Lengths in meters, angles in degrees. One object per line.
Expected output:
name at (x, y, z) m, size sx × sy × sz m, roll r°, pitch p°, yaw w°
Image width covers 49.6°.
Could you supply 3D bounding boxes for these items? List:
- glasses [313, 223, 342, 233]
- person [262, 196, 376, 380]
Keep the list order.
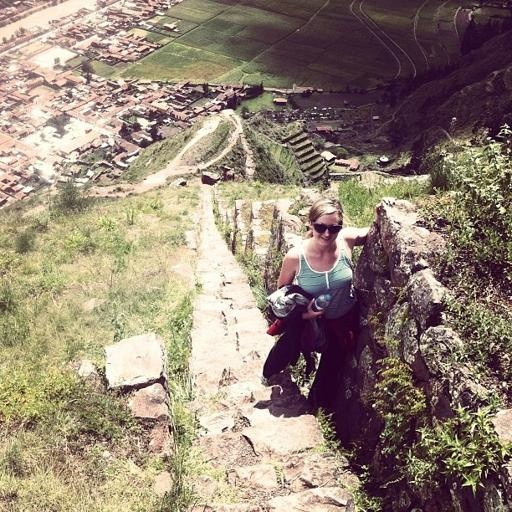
glasses at (0.560, -0.226, 4.339) m, size 0.217 × 0.085 × 0.061 m, roll -1°, pitch 26°, yaw 0°
person at (0.606, 0.380, 4.787) m, size 1.038 × 1.833 × 0.573 m, roll -4°, pitch 24°, yaw -9°
